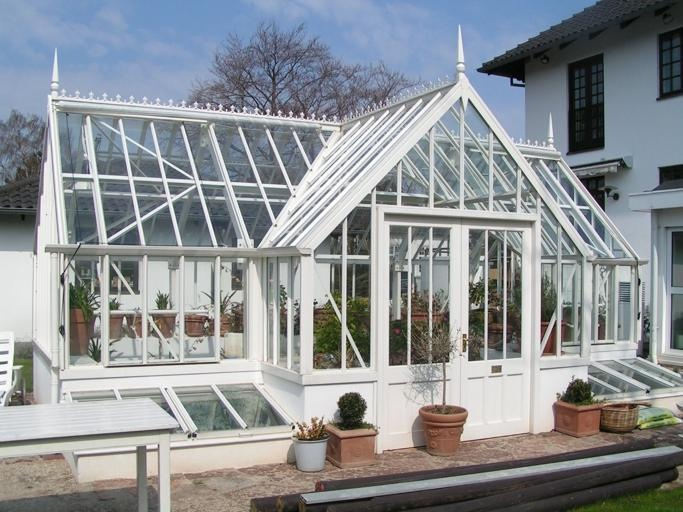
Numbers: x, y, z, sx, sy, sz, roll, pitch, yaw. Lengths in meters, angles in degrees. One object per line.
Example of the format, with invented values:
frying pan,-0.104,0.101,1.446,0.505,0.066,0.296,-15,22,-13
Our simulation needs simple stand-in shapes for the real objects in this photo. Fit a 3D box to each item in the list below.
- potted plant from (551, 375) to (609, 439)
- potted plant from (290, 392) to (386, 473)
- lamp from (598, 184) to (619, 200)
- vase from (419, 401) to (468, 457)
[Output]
potted plant,4.176,2.662,12.361,0.920,1.381,0.857,2,-3,-25
potted plant,-0.074,2.726,10.690,1.254,1.207,0.955,3,-4,-19
lamp,8.093,-1.916,20.575,0.322,0.535,0.911,-1,-1,-10
vase,1.662,2.798,10.949,0.725,0.643,0.757,1,1,25
